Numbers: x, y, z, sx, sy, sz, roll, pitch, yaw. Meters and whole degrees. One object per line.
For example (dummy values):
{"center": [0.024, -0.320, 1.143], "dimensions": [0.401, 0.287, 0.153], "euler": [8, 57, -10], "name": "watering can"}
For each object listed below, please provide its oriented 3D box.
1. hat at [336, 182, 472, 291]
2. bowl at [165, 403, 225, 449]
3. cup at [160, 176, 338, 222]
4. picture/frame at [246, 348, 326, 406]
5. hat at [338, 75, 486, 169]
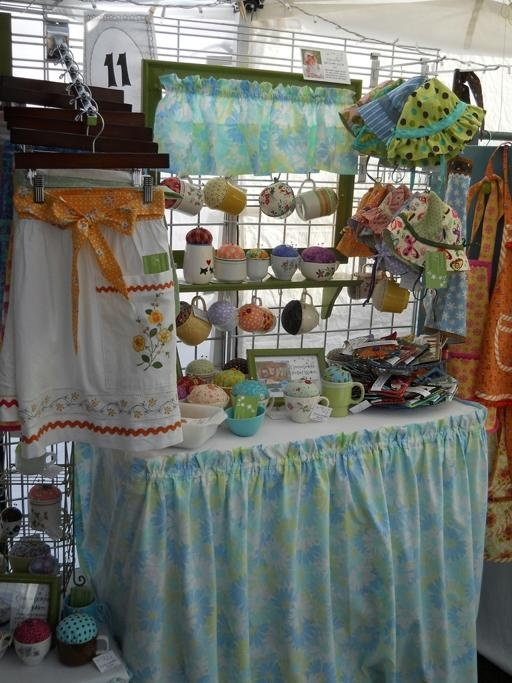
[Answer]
{"center": [0.430, -0.298, 1.859], "dimensions": [0.382, 0.171, 0.347], "euler": [15, 49, 7], "name": "hat"}
{"center": [-0.139, 0.194, 1.499], "dimensions": [0.122, 0.038, 0.085], "euler": [3, 19, 15], "name": "bowl"}
{"center": [-0.028, -0.408, 1.816], "dimensions": [0.561, 0.111, 0.151], "euler": [-6, 14, -30], "name": "cup"}
{"center": [0.076, 0.103, 1.757], "dimensions": [0.185, 0.116, 0.014], "euler": [1, -11, -13], "name": "picture/frame"}
{"center": [0.418, -0.609, 1.755], "dimensions": [0.251, 0.242, 0.366], "euler": [-7, 14, -31], "name": "hat"}
